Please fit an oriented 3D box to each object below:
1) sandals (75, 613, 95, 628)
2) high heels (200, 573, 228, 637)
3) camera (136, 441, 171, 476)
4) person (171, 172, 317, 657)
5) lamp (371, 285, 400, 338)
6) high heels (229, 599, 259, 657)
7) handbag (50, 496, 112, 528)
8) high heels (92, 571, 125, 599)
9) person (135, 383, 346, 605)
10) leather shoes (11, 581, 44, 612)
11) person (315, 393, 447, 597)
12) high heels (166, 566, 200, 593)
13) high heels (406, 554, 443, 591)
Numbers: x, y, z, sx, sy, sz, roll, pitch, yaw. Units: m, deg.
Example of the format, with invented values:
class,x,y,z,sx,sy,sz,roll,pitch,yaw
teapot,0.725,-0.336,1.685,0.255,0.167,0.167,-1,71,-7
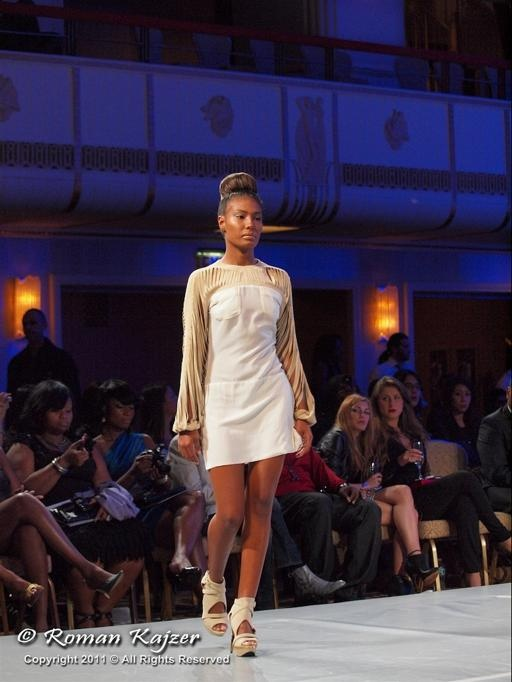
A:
class,x,y,z,sx,sy,sz,roll,pitch,yaw
sandals,-0.709,1.161,3.814,0.043,0.047,0.123,5,-33,-10
high heels,-0.122,0.783,2.724,0.067,0.082,0.205,1,20,-14
camera,-0.474,0.553,4.239,0.168,0.093,0.117,9,-19,10
person,-0.056,0.224,2.717,0.332,1.354,0.192,-6,-8,13
lamp,0.775,-0.168,5.530,0.208,0.329,0.088,1,-9,-31
high heels,-0.038,0.820,2.652,0.074,0.159,0.129,-3,-8,-3
handbag,-0.766,0.733,3.947,0.198,0.051,0.138,-9,13,-31
high heels,-0.603,1.002,3.802,0.067,0.157,0.054,40,-5,28
person,-0.110,0.837,4.749,1.282,1.400,0.625,-6,-6,4
leather shoes,-0.894,0.997,3.595,0.132,0.072,0.054,13,7,34
person,0.609,0.737,4.500,0.667,0.968,0.435,-22,-31,39
high heels,-0.319,1.031,3.997,0.178,0.109,0.162,-9,-23,4
high heels,0.797,1.109,4.415,0.151,0.183,0.091,-4,-8,6
